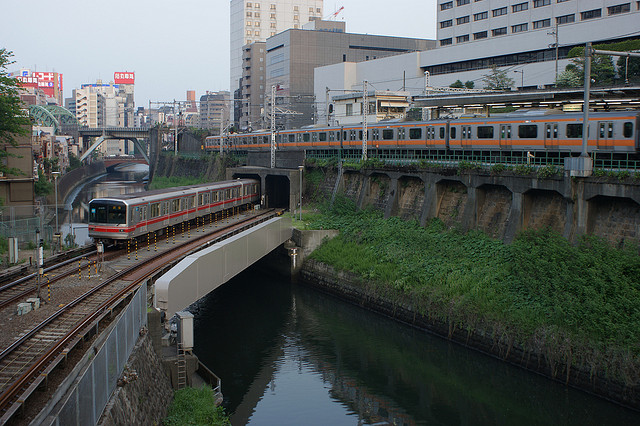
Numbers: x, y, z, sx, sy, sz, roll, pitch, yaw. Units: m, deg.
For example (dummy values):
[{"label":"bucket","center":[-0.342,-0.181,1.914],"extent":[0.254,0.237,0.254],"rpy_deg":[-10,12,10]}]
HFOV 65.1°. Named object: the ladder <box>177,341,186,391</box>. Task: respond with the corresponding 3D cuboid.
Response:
[{"label":"ladder","center":[-5.712,6.158,20.423],"extent":[0.390,1.562,1.045],"rpy_deg":[-5,14,-12]}]
